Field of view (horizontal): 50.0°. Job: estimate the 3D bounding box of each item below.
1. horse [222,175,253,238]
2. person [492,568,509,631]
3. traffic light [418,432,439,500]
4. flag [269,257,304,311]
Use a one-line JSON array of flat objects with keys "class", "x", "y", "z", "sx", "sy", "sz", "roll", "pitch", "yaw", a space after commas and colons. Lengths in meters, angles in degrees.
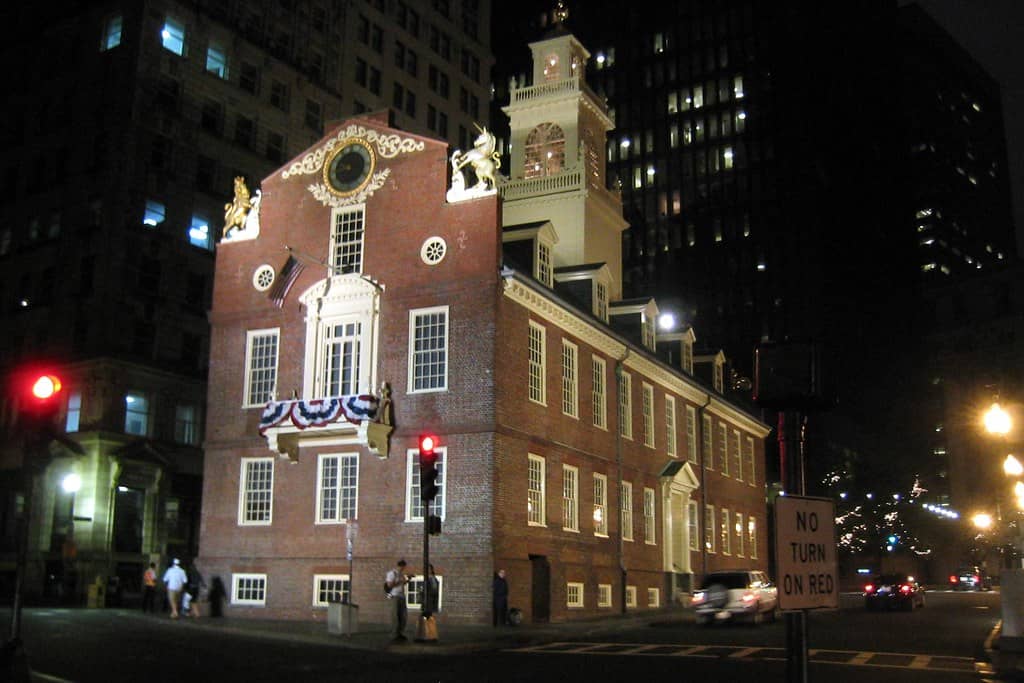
[{"class": "horse", "x": -15.502, "y": -7.826, "z": 62.008, "sx": 1.278, "sy": 4.239, "sz": 2.605, "roll": 5, "pitch": -20, "yaw": -19}, {"class": "person", "x": -0.609, "y": 12.409, "z": 53.258, "sx": 0.840, "sy": 2.550, "sz": 0.596, "roll": 3, "pitch": -19, "yaw": -13}, {"class": "traffic light", "x": -3.633, "y": 5.274, "z": 47.214, "sx": 0.640, "sy": 2.823, "sz": 1.036, "roll": 2, "pitch": -19, "yaw": -8}, {"class": "flag", "x": -12.153, "y": -3.241, "z": 58.888, "sx": 1.752, "sy": 2.548, "sz": 0.769, "roll": -16, "pitch": -23, "yaw": 37}]
